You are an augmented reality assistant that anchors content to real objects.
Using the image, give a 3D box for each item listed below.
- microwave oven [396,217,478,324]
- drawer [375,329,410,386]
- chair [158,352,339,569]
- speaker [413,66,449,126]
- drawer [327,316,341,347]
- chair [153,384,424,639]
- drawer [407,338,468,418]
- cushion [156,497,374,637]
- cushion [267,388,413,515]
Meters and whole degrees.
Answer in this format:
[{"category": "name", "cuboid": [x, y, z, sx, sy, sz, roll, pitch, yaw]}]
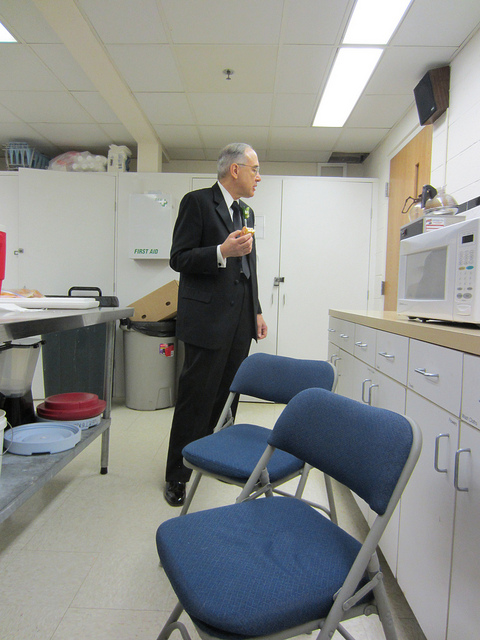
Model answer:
[{"category": "microwave oven", "cuboid": [0.586, -0.133, 1.361, 0.201, 0.274, 0.378, 1, -2, -3]}, {"category": "drawer", "cuboid": [0.490, 0.114, 1.483, 0.097, 0.125, 0.166, 2, 2, -10]}, {"category": "chair", "cuboid": [0.036, 0.451, 1.453, 0.452, 0.691, 0.434, 3, 1, -43]}, {"category": "speaker", "cuboid": [1.115, -1.302, 2.670, 0.090, 0.297, 0.299, -6, -8, -6]}, {"category": "drawer", "cuboid": [0.523, 0.062, 2.561, 0.098, 0.161, 0.154, 1, 0, -3]}, {"category": "chair", "cuboid": [0.058, 0.360, 0.898, 0.412, 0.401, 0.398, -1, 4, -22]}, {"category": "drawer", "cuboid": [0.532, 0.130, 1.151, 0.134, 0.151, 0.218, -7, 9, -17]}, {"category": "cushion", "cuboid": [0.043, 0.454, 0.896, 0.377, 0.063, 0.336, -1, 5, -29]}, {"category": "cushion", "cuboid": [0.205, 0.221, 0.931, 0.198, 0.297, 0.155, 5, 6, -43]}]
